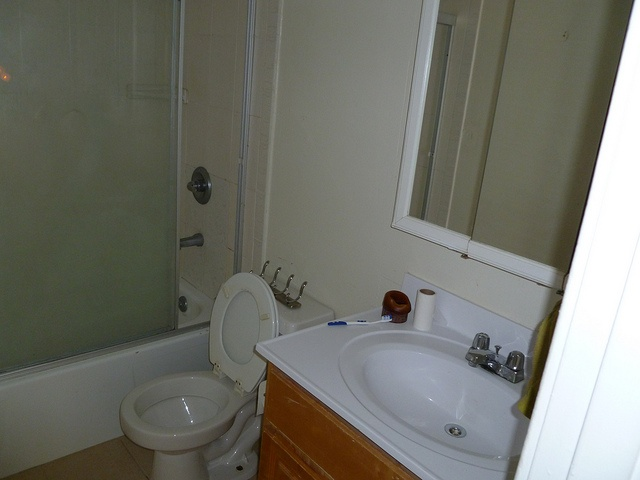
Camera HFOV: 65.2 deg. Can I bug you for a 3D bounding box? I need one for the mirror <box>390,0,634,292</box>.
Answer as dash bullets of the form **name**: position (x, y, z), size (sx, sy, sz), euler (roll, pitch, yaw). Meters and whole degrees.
- **mirror**: position (0.538, -0.293, 1.418), size (0.038, 0.917, 0.704), euler (-6, 21, -37)
